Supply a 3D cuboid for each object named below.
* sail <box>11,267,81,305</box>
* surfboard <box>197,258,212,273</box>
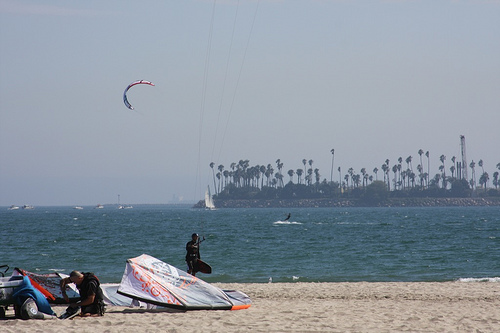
[{"bbox_3d":[-12.715,7.636,58.348,3.853,2.211,1.606,2,-11,-9],"label":"sail"},{"bbox_3d":[-3.194,6.771,61.960,0.478,1.377,0.330,-42,-11,-15],"label":"surfboard"}]
